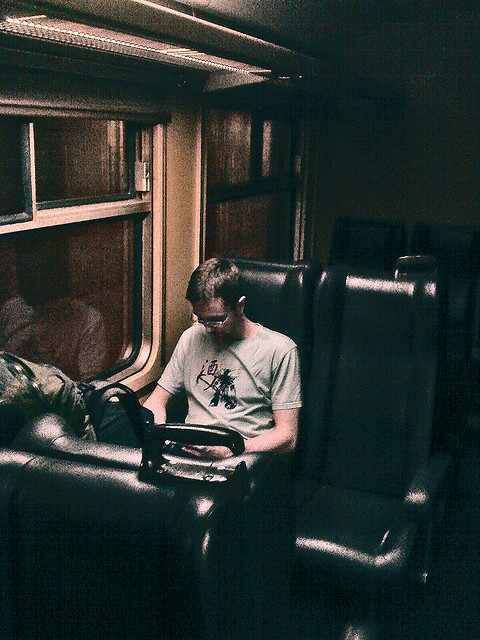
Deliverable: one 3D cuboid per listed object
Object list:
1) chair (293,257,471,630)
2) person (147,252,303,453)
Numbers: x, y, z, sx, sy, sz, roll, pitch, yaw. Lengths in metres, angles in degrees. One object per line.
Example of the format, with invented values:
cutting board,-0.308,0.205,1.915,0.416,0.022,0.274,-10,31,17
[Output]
chair,0.453,0.324,1.950,0.555,0.976,0.663,4,11,6
person,-0.007,0.104,2.260,0.526,0.905,0.498,7,13,34
